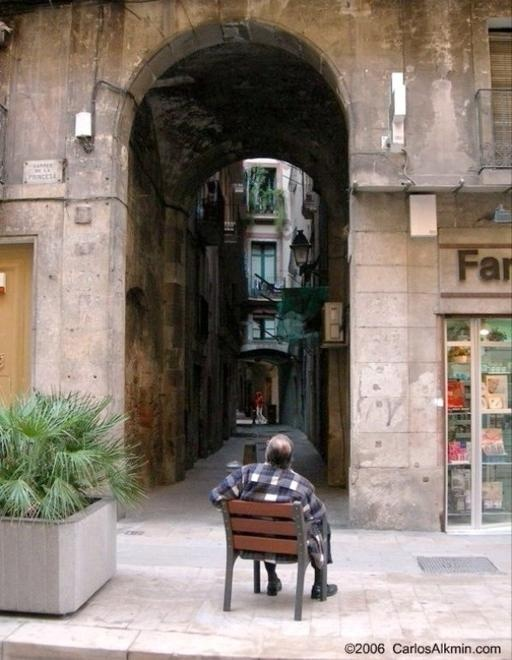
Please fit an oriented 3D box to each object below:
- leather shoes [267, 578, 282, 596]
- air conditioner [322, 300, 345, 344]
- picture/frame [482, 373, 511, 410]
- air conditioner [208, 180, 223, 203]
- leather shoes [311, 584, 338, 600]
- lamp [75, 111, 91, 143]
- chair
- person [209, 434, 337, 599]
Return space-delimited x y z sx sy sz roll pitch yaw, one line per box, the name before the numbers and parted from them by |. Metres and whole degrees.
leather shoes | 0.134 1.911 6.596 0.055 0.118 0.159 1 1 11
air conditioner | 1.122 -0.087 13.130 0.281 0.558 0.554 0 -1 -3
picture/frame | 2.608 0.675 9.522 0.311 0.617 0.188 1 -12 2
air conditioner | -0.874 -2.810 18.323 0.272 0.556 0.861 0 -2 -4
leather shoes | 0.510 1.929 6.605 0.078 0.120 0.269 -2 -5 21
lamp | -1.956 -2.312 9.973 0.188 0.354 0.263 0 -2 -12
chair | 0.140 1.570 6.289 0.654 0.808 0.632 1 -7 14
person | 0.192 1.413 6.543 0.795 1.343 1.050 6 6 34
